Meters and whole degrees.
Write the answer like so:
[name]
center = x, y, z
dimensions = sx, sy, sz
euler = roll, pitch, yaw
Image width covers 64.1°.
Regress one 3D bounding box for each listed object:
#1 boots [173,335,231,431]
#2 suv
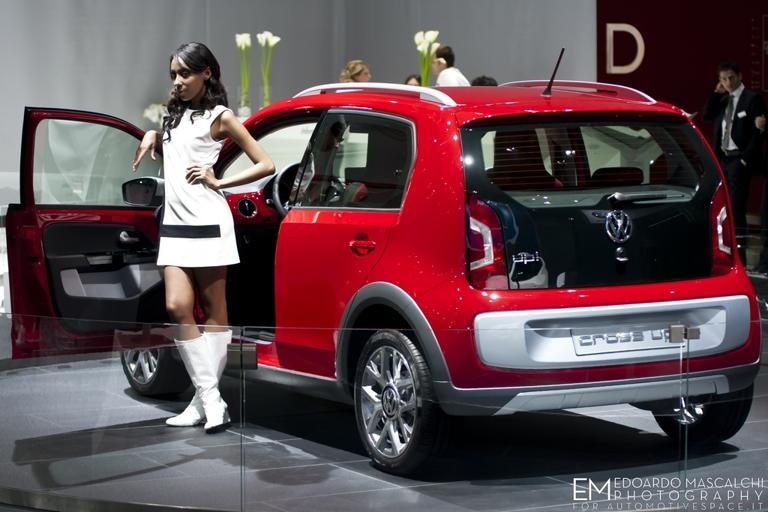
[boots]
center = -0.676, 0.475, 2.320
dimensions = 0.206, 0.359, 0.233
euler = -4, 13, -15
[suv]
center = -0.178, -0.077, 3.172
dimensions = 2.361, 1.342, 2.992
euler = -6, 11, -39
